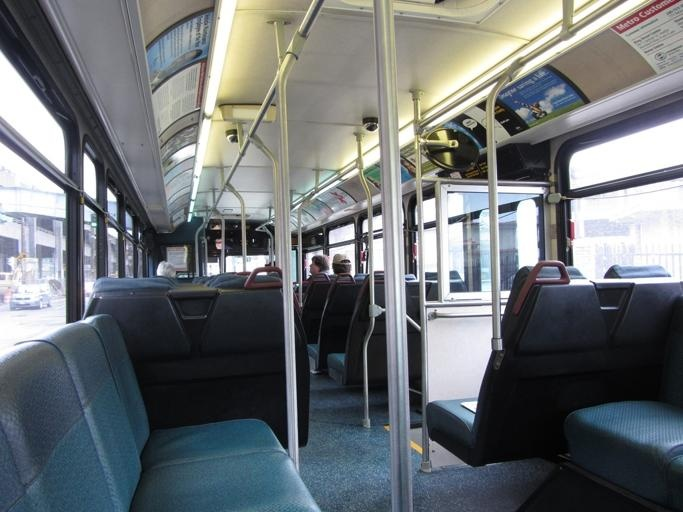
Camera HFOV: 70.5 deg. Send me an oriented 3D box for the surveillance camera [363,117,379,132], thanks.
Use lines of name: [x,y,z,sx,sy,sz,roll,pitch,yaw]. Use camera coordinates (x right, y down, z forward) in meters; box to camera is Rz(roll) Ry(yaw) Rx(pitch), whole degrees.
surveillance camera: [0.357,-1.634,5.930,0.175,0.186,0.305,-3,0,1]

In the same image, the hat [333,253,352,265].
hat: [-0.037,0.023,7.558,0.193,0.151,0.272,5,-14,-37]

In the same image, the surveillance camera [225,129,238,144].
surveillance camera: [-1.302,-1.467,5.765,0.127,0.188,0.284,-3,0,-16]
